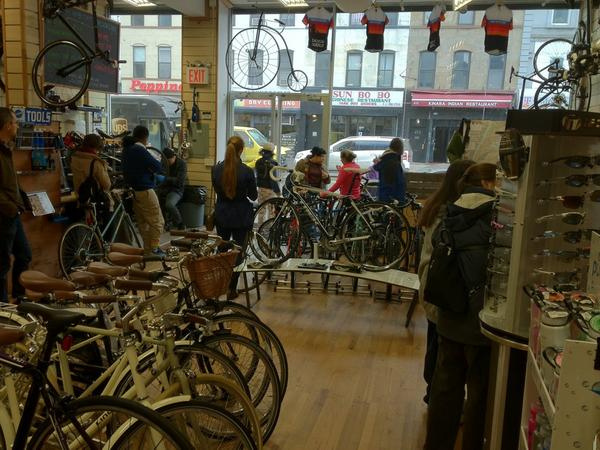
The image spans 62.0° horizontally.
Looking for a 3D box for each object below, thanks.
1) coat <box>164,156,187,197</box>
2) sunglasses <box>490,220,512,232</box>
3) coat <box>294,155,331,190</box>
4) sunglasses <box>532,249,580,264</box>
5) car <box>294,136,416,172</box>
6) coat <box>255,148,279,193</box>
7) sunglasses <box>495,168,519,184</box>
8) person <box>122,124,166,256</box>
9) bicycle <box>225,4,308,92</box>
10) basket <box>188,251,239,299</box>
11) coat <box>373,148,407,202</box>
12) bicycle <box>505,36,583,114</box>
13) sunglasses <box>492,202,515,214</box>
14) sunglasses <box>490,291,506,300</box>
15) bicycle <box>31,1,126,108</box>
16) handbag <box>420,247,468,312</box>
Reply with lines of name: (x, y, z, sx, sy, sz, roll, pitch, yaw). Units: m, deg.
coat: (-2.109, -0.826, 8.473, 0.352, 0.673, 0.210, -2, 12, -20)
sunglasses: (0.960, 0.003, 2.400, 0.064, 0.019, 0.039, 16, 15, 31)
coat: (0.190, -0.838, 7.253, 0.412, 0.418, 0.231, 19, -7, 30)
sunglasses: (1.134, 0.131, 2.222, 0.192, 0.054, 0.077, 7, 13, 23)
car: (0.994, -1.281, 8.528, 1.703, 0.687, 0.833, 3, 6, 9)
coat: (-0.498, -0.863, 7.797, 0.508, 0.663, 0.301, 7, 13, 23)
sunglasses: (0.980, -0.237, 2.374, 0.097, 0.046, 0.064, 1, 10, 20)
person: (-2.070, -0.497, 6.708, 0.517, 1.730, 0.571, -13, 19, -37)
bicycle: (-0.681, -3.051, 8.861, 1.571, 1.278, 0.449, 8, 13, 24)
basket: (-0.586, 0.291, 2.993, 0.319, 0.278, 0.298, 2, -8, -1)
coat: (1.279, -0.684, 7.131, 0.383, 0.830, 0.401, 11, 13, 36)
bicycle: (3.723, -2.245, 7.512, 0.970, 0.861, 1.681, 7, -13, 27)
sunglasses: (0.967, -0.080, 2.388, 0.065, 0.029, 0.043, 21, 13, 34)
sunglasses: (0.970, 0.352, 2.461, 0.074, 0.033, 0.027, 10, 14, 34)
bicycle: (-2.908, -2.303, 6.572, 0.752, 1.466, 1.782, 0, 12, -11)
handbag: (0.824, 0.315, 2.826, 0.201, 0.399, 0.337, -3, 7, -18)
